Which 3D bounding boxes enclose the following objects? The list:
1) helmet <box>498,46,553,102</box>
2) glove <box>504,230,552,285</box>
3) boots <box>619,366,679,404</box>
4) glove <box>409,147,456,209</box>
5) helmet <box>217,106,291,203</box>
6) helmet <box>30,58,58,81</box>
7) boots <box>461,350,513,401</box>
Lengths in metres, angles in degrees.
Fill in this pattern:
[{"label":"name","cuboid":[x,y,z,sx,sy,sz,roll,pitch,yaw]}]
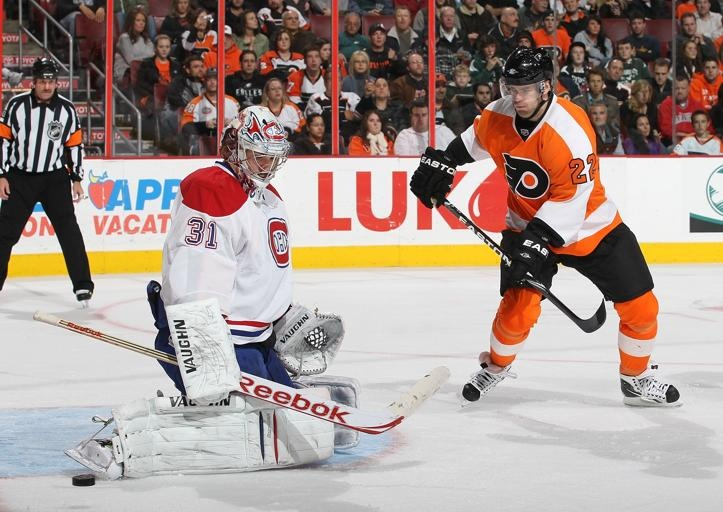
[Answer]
[{"label":"helmet","cuboid":[0.816,-0.903,5.148,0.242,0.246,0.261,2,10,6]},{"label":"glove","cuboid":[0.847,0.019,5.295,0.276,0.316,0.386,2,10,7]},{"label":"boots","cuboid":[1.502,0.676,5.385,0.344,0.188,0.169,-4,3,43]},{"label":"glove","cuboid":[0.456,-0.419,5.686,0.143,0.314,0.254,1,40,-46]},{"label":"helmet","cuboid":[-0.458,-0.448,4.483,0.304,0.397,0.410,0,13,-20]},{"label":"helmet","cuboid":[-2.234,-1.298,7.327,0.147,0.152,0.167,-2,-22,-23]},{"label":"boots","cuboid":[0.665,0.627,5.464,0.188,0.123,0.283,36,21,12]}]
